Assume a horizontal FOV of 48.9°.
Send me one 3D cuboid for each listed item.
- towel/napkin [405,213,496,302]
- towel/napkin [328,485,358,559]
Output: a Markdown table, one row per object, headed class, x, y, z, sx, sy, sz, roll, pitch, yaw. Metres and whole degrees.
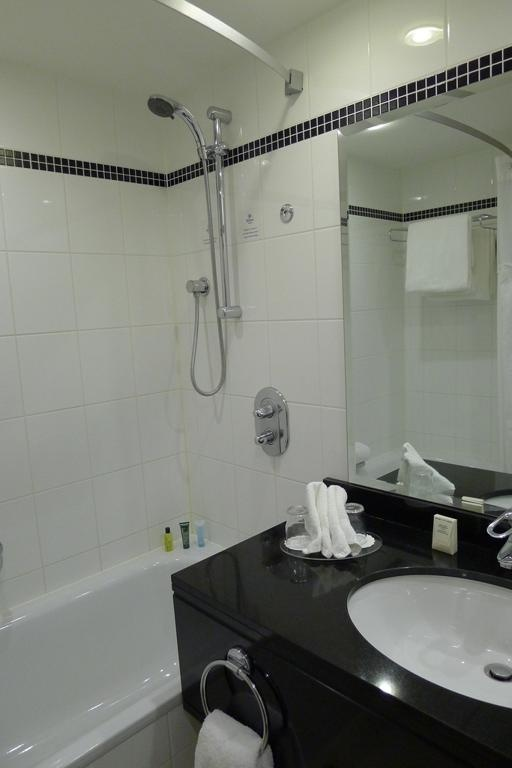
| class | x | y | z | sx | sy | sz | roll | pitch | yaw |
| --- | --- | --- | --- | --- | --- | --- | --- | --- | --- |
| towel/napkin | 0.479 | -0.308 | 1.408 | 0.022 | 0.214 | 0.243 | -13 | 10 | -39 |
| towel/napkin | 0.217 | 0.344 | 1.427 | 0.068 | 0.117 | 0.177 | -6 | 9 | 6 |
